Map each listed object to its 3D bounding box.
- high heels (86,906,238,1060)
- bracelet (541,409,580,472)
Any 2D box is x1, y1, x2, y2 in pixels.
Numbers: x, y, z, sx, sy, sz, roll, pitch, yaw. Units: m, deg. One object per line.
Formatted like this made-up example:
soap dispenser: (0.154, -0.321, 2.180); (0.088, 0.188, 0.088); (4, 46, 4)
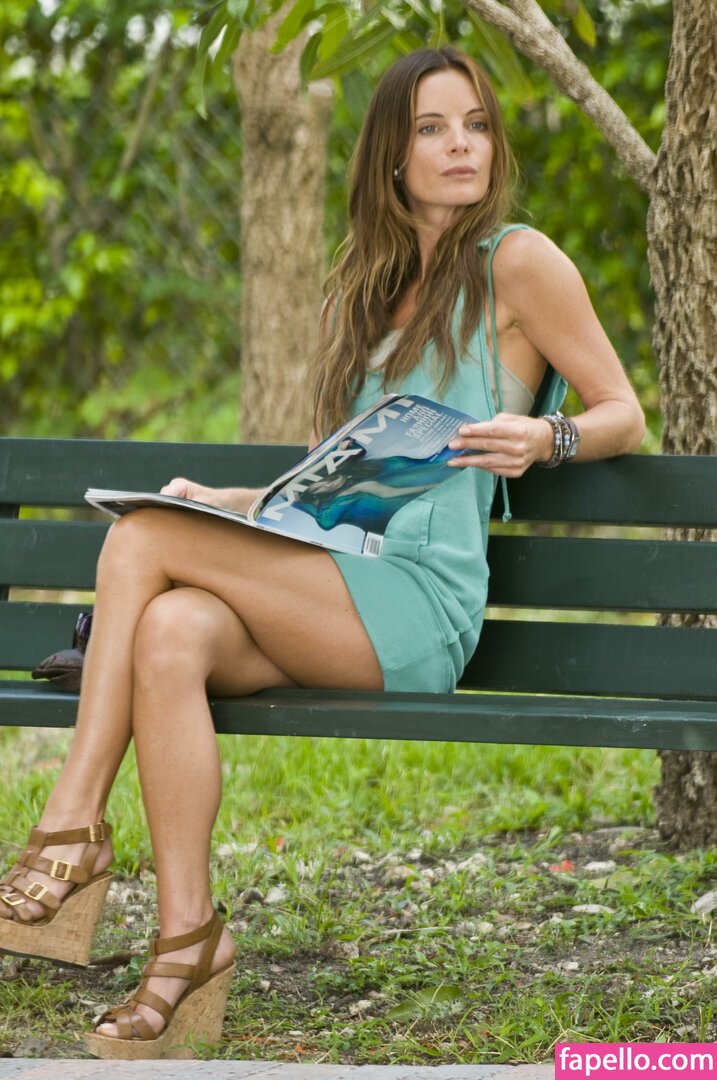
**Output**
high heels: (-0.241, 0.589, 1.640); (0.094, 0.170, 0.267); (-3, -8, 34)
bracelet: (0.325, -0.160, 1.978); (0.039, 0.076, 0.067); (-5, 15, -34)
